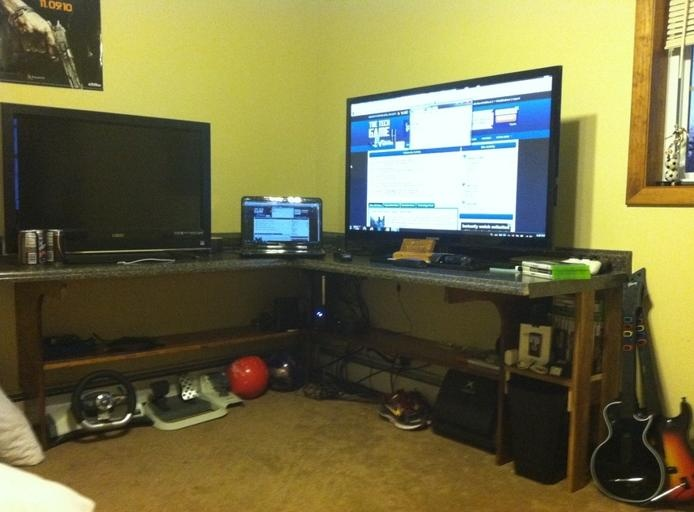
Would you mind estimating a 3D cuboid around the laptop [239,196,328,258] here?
[{"bbox_3d":[-0.345,-0.161,3.064,0.480,0.313,0.310,1,4,-21],"label":"laptop"}]

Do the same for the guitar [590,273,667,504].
[{"bbox_3d":[1.232,0.536,2.378,0.273,0.890,0.435,8,14,31],"label":"guitar"}]

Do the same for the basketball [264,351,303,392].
[{"bbox_3d":[-0.377,0.690,3.425,0.198,0.233,0.203,-2,-1,-6],"label":"basketball"}]

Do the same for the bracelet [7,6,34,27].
[{"bbox_3d":[-1.665,-1.229,2.872,0.091,0.062,0.092,-18,32,34],"label":"bracelet"}]

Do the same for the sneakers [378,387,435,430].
[{"bbox_3d":[0.315,0.803,2.999,0.233,0.127,0.403,0,4,-15],"label":"sneakers"}]
